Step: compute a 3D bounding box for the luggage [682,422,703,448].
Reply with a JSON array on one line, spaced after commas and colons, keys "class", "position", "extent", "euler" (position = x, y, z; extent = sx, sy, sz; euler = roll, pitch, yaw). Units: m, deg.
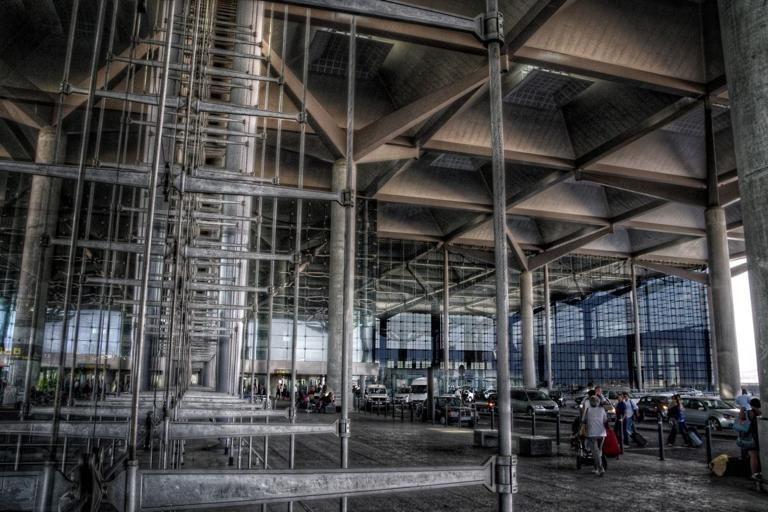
[{"class": "luggage", "position": [10.722, 6.230, 21.747], "extent": [0.509, 0.823, 0.629], "euler": [-4, -14, 27]}]
